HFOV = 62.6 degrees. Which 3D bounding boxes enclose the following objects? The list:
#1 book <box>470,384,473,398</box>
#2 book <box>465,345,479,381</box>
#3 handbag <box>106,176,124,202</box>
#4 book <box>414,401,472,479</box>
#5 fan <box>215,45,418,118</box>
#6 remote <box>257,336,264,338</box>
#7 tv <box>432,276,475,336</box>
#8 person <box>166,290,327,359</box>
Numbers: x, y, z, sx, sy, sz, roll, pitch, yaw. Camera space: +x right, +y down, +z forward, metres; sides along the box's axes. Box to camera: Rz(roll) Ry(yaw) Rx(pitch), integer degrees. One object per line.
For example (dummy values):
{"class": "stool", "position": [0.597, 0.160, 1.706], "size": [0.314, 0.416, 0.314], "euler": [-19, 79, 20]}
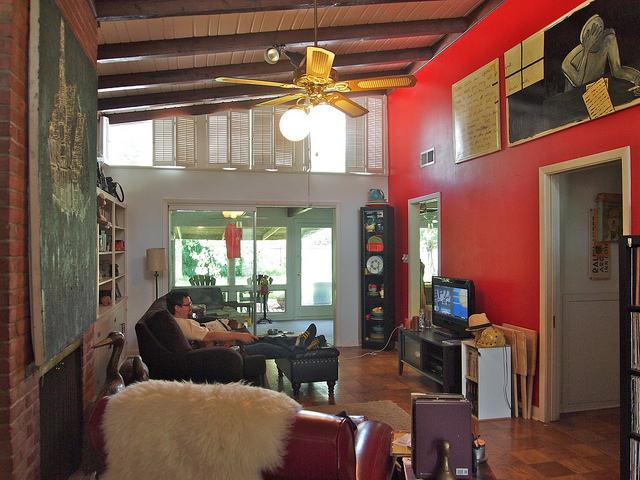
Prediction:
{"class": "book", "position": [1.495, 1.512, 5.214], "size": [0.033, 0.124, 0.013], "euler": [-2, -4, 44]}
{"class": "book", "position": [1.497, 1.222, 5.191], "size": [0.051, 0.314, 0.230], "euler": [1, -3, -8]}
{"class": "handbag", "position": [-2.785, -0.687, 7.177], "size": [0.266, 0.384, 0.399], "euler": [-5, -2, -18]}
{"class": "book", "position": [0.677, 1.107, 2.895], "size": [0.307, 0.420, 0.040], "euler": [1, -3, 2]}
{"class": "fan", "position": [-0.006, -1.281, 4.269], "size": [1.287, 0.489, 0.942], "euler": [3, -3, -35]}
{"class": "remote", "position": [-0.667, 1.099, 5.884], "size": [0.066, 0.020, 0.072], "euler": [0, 0, 19]}
{"class": "tv", "position": [1.513, 0.755, 5.904], "size": [0.188, 0.489, 0.652], "euler": [2, -3, -12]}
{"class": "person", "position": [-0.725, 0.902, 5.474], "size": [1.723, 0.726, 0.721], "euler": [2, -4, -16]}
